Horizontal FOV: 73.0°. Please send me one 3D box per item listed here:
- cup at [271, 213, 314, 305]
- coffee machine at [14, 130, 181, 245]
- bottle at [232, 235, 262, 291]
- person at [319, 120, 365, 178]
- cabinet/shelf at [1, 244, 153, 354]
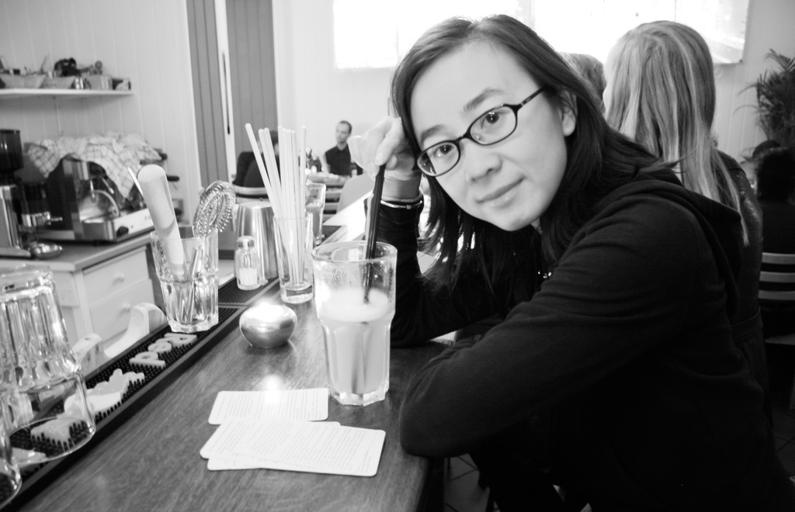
[{"bbox_3d":[-0.330,0.003,1.751,0.119,0.265,0.181,-8,16,-10],"label":"cup"},{"bbox_3d":[-1.795,-0.399,3.105,0.615,0.657,0.919,1,10,5],"label":"coffee machine"},{"bbox_3d":[-0.513,0.014,1.841,0.090,0.183,0.142,-9,16,-14],"label":"bottle"},{"bbox_3d":[-0.680,-1.287,6.358,0.387,0.614,1.359,-6,16,-5],"label":"person"},{"bbox_3d":[-1.244,0.150,2.091,0.328,0.457,0.488,2,11,7],"label":"cabinet/shelf"}]
